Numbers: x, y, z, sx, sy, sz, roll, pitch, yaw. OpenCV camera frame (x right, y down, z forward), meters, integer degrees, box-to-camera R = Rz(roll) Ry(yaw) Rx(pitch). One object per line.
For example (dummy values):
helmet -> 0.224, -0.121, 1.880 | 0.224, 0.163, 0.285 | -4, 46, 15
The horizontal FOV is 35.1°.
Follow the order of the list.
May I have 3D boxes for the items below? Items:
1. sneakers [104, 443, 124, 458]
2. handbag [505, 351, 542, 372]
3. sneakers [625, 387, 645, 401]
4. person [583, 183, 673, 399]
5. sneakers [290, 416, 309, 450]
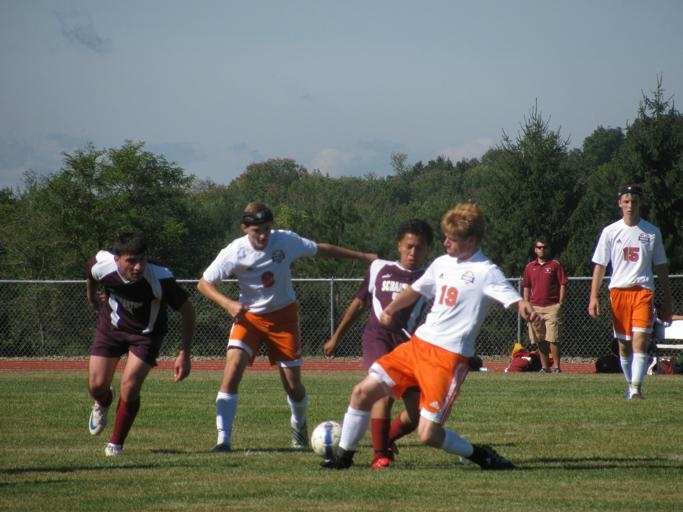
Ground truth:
sneakers -> -2.673, 2.285, 12.617 | 0.221, 0.153, 0.271 | 4, -4, -11
handbag -> 3.351, 1.955, 19.669 | 0.491, 0.228, 0.577 | -1, 0, -8
sneakers -> 4.046, 1.906, 14.810 | 0.285, 0.312, 0.134 | 0, -3, 29
person -> 4.001, 0.528, 14.810 | 1.044, 3.027, 1.371 | 1, 6, 18
sneakers -> -0.511, 2.223, 13.188 | 0.129, 0.197, 0.411 | 1, 2, 6
